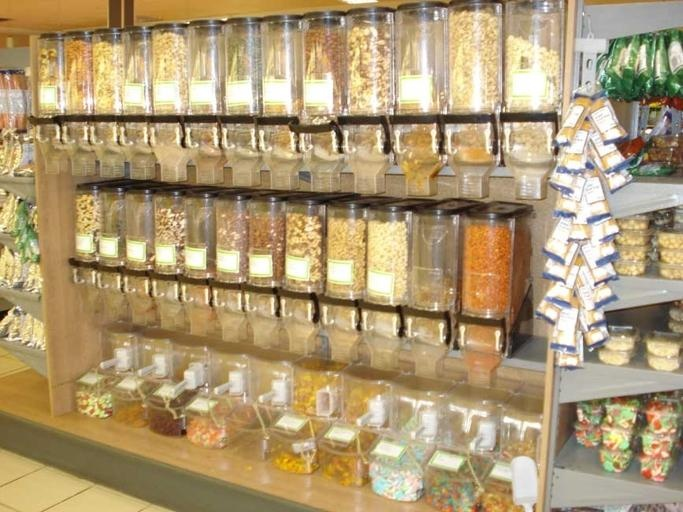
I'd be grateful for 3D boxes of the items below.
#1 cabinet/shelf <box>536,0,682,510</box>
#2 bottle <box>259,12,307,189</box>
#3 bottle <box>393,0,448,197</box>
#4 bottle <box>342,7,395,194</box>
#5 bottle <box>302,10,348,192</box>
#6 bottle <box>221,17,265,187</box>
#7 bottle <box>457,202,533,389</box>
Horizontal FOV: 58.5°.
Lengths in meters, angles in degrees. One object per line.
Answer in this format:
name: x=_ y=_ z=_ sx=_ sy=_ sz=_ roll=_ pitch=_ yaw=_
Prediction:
cabinet/shelf: x=0.726 y=0.176 z=1.846 sx=0.225 sy=1.308 sz=0.102 roll=-4 pitch=14 yaw=-8
bottle: x=-0.217 y=-0.545 z=2.180 sx=0.161 sy=0.606 sz=0.147 roll=-2 pitch=14 yaw=0
bottle: x=0.257 y=-0.502 z=1.986 sx=0.176 sy=0.616 sz=0.157 roll=0 pitch=14 yaw=8
bottle: x=0.089 y=-0.513 z=2.043 sx=0.180 sy=0.606 sz=0.140 roll=0 pitch=14 yaw=6
bottle: x=-0.062 y=-0.526 z=2.112 sx=0.164 sy=0.614 sz=0.155 roll=-2 pitch=14 yaw=0
bottle: x=-0.371 y=-0.563 z=2.253 sx=0.171 sy=0.610 sz=0.156 roll=-2 pitch=14 yaw=0
bottle: x=0.554 y=0.122 z=2.185 sx=0.231 sy=0.591 sz=0.385 roll=3 pitch=14 yaw=19
